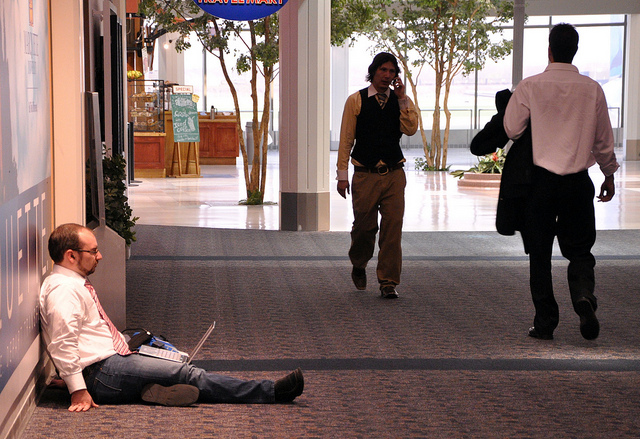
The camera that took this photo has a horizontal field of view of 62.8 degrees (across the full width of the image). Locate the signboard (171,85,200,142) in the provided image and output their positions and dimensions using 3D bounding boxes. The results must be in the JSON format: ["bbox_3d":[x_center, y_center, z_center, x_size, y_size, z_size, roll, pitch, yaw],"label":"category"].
[{"bbox_3d":[-3.842,-3.000,15.007,0.746,1.613,0.963,-5,12,-15],"label":"signboard"}]

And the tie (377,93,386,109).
[{"bbox_3d":[0.538,-1.020,4.519,0.067,0.110,0.028,-1,-3,-17],"label":"tie"}]

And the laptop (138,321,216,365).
[{"bbox_3d":[-0.752,0.583,2.648,0.321,0.214,0.326,21,-14,-12],"label":"laptop"}]

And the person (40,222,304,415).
[{"bbox_3d":[-0.702,0.544,2.650,1.416,0.813,0.665,10,0,-12],"label":"person"}]

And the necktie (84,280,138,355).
[{"bbox_3d":[-1.009,0.523,2.607,0.164,0.485,0.025,-32,-2,29],"label":"necktie"}]

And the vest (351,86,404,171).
[{"bbox_3d":[0.489,-0.788,4.566,0.445,0.702,0.258,-1,11,4],"label":"vest"}]

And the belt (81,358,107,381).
[{"bbox_3d":[-1.067,0.711,2.475,0.102,0.100,0.021,-2,11,0],"label":"belt"}]

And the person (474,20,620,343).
[{"bbox_3d":[1.503,-0.246,3.539,0.828,2.106,0.718,5,13,29],"label":"person"}]
